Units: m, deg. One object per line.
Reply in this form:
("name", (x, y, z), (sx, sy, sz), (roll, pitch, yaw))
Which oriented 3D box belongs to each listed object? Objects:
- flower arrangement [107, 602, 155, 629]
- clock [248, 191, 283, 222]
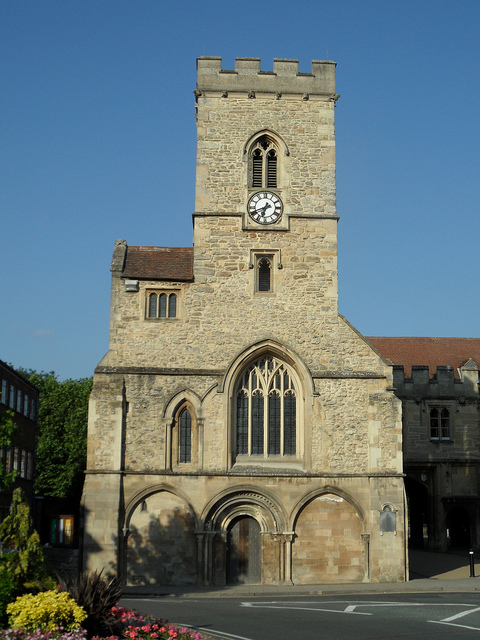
("flower arrangement", (-1.976, 5.517, 18.467), (0.789, 0.415, 1.755), (0, -16, -5))
("clock", (0.797, -3.679, 32.528), (0.742, 0.787, 0.068), (22, -16, -3))
